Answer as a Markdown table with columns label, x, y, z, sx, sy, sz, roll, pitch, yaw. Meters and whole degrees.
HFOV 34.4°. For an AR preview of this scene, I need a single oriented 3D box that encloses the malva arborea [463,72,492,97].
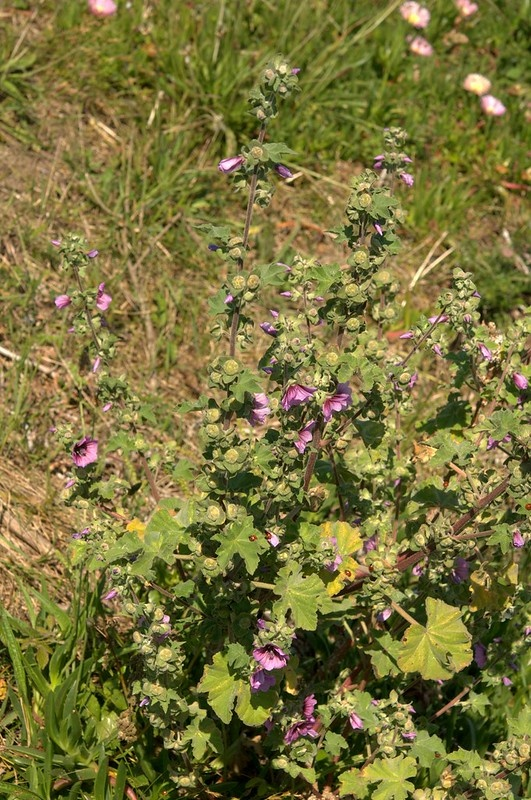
| label | x | y | z | sx | sy | sz | roll | pitch | yaw |
| --- | --- | --- | --- | --- | --- | --- | --- | --- | --- |
| malva arborea | 1.318 | -1.979 | 5.357 | 0.168 | 0.122 | 0.094 | 14 | 27 | 2 |

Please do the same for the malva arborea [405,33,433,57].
| label | x | y | z | sx | sy | sz | roll | pitch | yaw |
| --- | --- | --- | --- | --- | --- | --- | --- | --- | --- |
| malva arborea | 0.989 | -2.265 | 5.482 | 0.160 | 0.111 | 0.142 | 15 | 26 | 3 |

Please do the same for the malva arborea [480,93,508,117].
| label | x | y | z | sx | sy | sz | roll | pitch | yaw |
| --- | --- | --- | --- | --- | --- | --- | --- | --- | --- |
| malva arborea | 1.434 | -1.864 | 5.429 | 0.179 | 0.131 | 0.172 | 16 | 27 | 7 |
